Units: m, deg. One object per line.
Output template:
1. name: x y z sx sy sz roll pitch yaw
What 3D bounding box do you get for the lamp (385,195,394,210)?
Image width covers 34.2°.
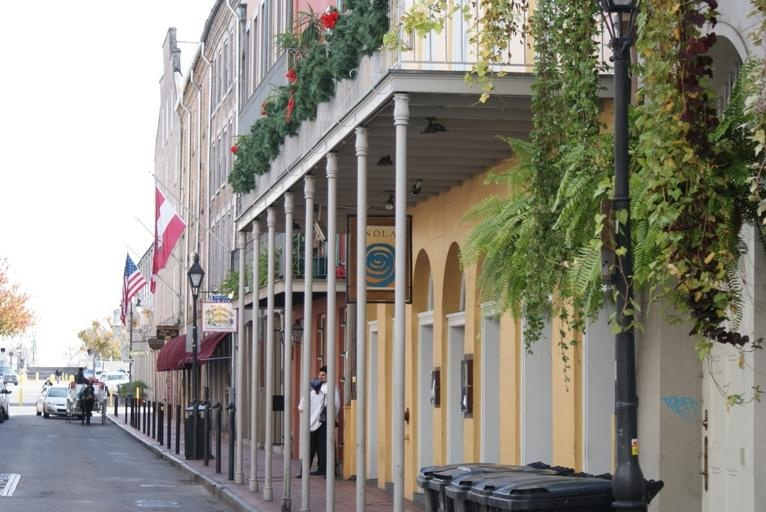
1. lamp: 0.106 -0.765 17.971 0.104 0.194 0.126 8 6 16

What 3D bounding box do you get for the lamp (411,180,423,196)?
1. lamp: 0.472 -0.928 17.050 0.112 0.234 0.209 18 14 6

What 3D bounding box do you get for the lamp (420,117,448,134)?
1. lamp: 0.610 -1.472 14.552 0.284 0.144 0.614 1 -14 -2

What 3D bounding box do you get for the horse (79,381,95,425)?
1. horse: -11.000 5.462 46.696 0.489 1.701 1.378 2 -11 -14

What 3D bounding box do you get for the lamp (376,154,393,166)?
1. lamp: 0.047 -1.230 16.094 0.141 0.136 0.115 3 -1 -5

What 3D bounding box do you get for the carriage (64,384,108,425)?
1. carriage: -11.618 5.931 49.216 1.401 1.738 2.924 1 -6 -9
